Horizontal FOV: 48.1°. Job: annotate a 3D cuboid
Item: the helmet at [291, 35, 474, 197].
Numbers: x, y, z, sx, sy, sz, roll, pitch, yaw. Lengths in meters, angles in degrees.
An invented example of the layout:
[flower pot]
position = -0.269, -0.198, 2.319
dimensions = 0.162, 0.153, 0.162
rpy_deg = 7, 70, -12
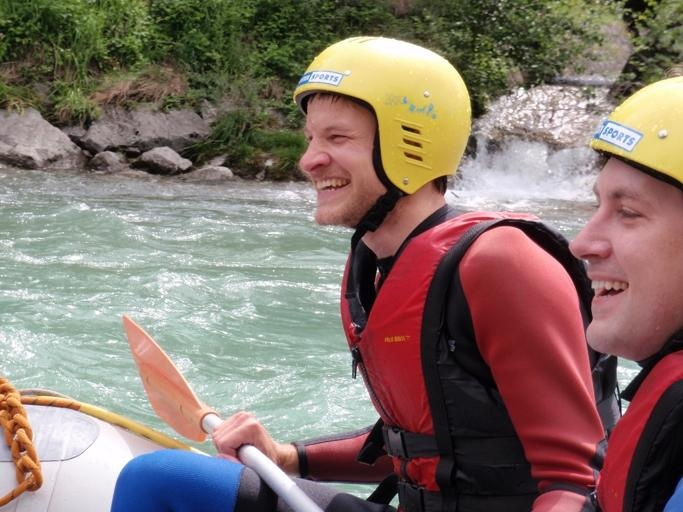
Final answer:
[helmet]
position = 0.185, -0.443, 2.609
dimensions = 0.689, 0.419, 0.437
rpy_deg = 9, -1, -8

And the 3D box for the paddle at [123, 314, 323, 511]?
[paddle]
position = -0.490, 0.644, 3.203
dimensions = 0.198, 0.189, 1.534
rpy_deg = 26, 3, -46
